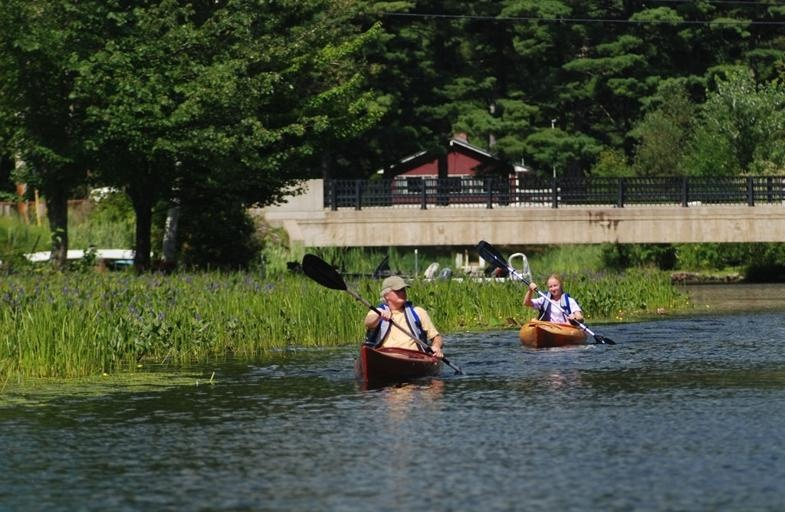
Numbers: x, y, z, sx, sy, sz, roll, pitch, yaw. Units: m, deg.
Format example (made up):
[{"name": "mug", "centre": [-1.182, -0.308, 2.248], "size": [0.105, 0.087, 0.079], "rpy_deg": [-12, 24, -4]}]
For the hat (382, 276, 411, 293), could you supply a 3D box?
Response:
[{"name": "hat", "centre": [0.087, 0.778, 47.623], "size": [0.607, 0.345, 0.467], "rpy_deg": [-12, -7, 31]}]

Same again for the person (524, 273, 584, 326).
[{"name": "person", "centre": [5.089, 1.326, 51.662], "size": [1.682, 1.517, 0.844], "rpy_deg": [-3, 0, 5]}]

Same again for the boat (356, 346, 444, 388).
[{"name": "boat", "centre": [0.205, 3.061, 47.763], "size": [2.193, 1.207, 0.548], "rpy_deg": [-3, 0, -10]}]
